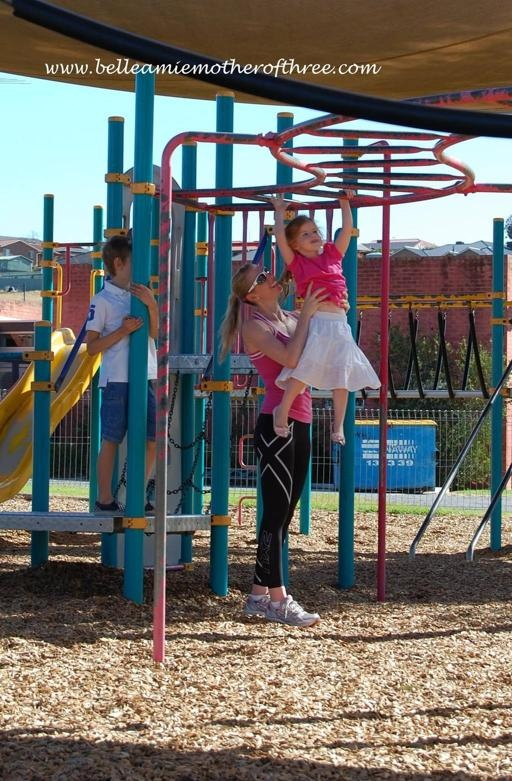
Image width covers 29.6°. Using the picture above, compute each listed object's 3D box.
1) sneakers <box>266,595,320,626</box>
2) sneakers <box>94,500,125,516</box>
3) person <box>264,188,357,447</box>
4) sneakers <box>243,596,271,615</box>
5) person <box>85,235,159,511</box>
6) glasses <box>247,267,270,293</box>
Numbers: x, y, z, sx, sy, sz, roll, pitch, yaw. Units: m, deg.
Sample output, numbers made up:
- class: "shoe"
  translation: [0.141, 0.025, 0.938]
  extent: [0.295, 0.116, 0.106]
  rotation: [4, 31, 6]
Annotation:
- class: "sneakers"
  translation: [0.141, 0.953, 4.176]
  extent: [0.251, 0.114, 0.104]
  rotation: [6, 4, 15]
- class: "sneakers"
  translation: [-0.683, 0.554, 4.485]
  extent: [0.144, 0.062, 0.058]
  rotation: [2, -6, -11]
- class: "person"
  translation: [0.232, -0.339, 4.100]
  extent: [0.327, 1.109, 0.526]
  rotation: [2, -2, 5]
- class: "sneakers"
  translation: [-0.012, 0.948, 4.261]
  extent: [0.153, 0.071, 0.056]
  rotation: [-2, -4, 34]
- class: "person"
  translation: [-0.625, -0.108, 4.468]
  extent: [0.346, 1.345, 0.795]
  rotation: [2, -2, -7]
- class: "glasses"
  translation: [0.008, -0.463, 4.091]
  extent: [0.025, 0.084, 0.084]
  rotation: [42, 13, 3]
